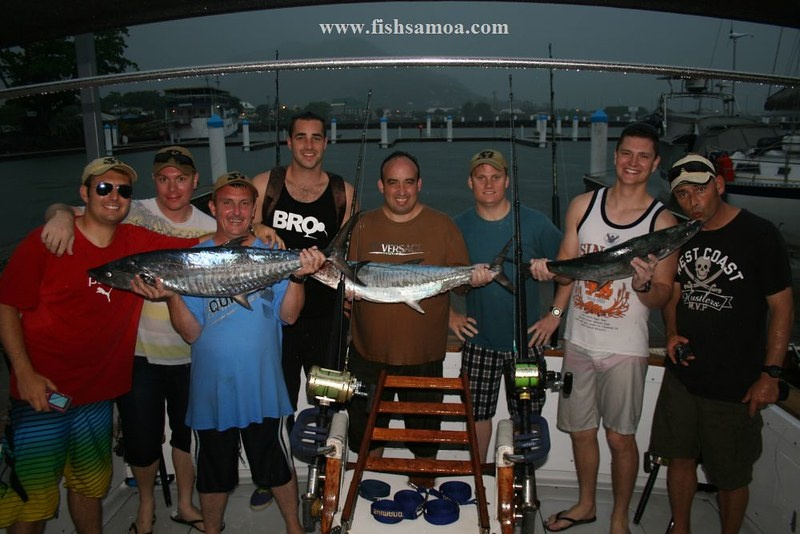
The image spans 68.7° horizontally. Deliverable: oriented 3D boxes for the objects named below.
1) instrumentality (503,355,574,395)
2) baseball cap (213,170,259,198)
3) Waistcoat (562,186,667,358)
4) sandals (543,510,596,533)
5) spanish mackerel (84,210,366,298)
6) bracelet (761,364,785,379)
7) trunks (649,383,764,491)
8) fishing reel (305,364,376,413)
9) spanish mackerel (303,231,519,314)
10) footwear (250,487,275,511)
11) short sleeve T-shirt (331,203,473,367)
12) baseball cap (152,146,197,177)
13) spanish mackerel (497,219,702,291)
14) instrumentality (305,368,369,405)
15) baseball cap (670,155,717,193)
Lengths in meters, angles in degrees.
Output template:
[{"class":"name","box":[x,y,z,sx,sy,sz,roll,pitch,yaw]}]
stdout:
[{"class":"instrumentality","box":[0.859,0.686,3.743,0.421,0.211,0.322,6,14,-5]},{"class":"baseball cap","box":[-1.137,-0.561,3.981,0.278,0.177,0.257,-4,9,-22]},{"class":"Waistcoat","box":[1.612,0.012,4.393,0.655,1.195,0.436,17,20,41]},{"class":"sandals","box":[1.309,1.952,4.522,0.386,0.094,0.168,-4,7,-2]},{"class":"spanish mackerel","box":[-1.156,0.035,3.749,1.768,0.536,0.249,-2,9,9]},{"class":"bracelet","box":[2.576,0.710,4.037,0.126,0.082,0.116,3,-4,-4]},{"class":"trunks","box":[2.267,1.062,4.382,0.722,0.963,0.550,-6,-3,44]},{"class":"fishing reel","box":[-0.385,0.752,3.615,0.392,0.236,0.203,13,4,4]},{"class":"spanish mackerel","box":[0.027,0.062,4.318,1.581,0.496,0.273,0,-17,23]},{"class":"footwear","box":[-1.134,1.885,4.764,0.156,0.137,0.315,1,-18,0]},{"class":"short sleeve T-shirt","box":[0.013,0.148,4.639,1.124,1.207,0.649,3,13,15]},{"class":"baseball cap","box":[-1.687,-0.779,4.347,0.210,0.163,0.310,1,7,-8]},{"class":"spanish mackerel","box":[1.490,-0.041,4.016,1.136,0.251,0.210,-19,8,44]},{"class":"instrumentality","box":[-0.380,0.745,3.646,0.372,0.227,0.195,8,7,1]},{"class":"baseball cap","box":[2.073,-0.676,4.124,0.228,0.180,0.316,-8,10,44]}]
